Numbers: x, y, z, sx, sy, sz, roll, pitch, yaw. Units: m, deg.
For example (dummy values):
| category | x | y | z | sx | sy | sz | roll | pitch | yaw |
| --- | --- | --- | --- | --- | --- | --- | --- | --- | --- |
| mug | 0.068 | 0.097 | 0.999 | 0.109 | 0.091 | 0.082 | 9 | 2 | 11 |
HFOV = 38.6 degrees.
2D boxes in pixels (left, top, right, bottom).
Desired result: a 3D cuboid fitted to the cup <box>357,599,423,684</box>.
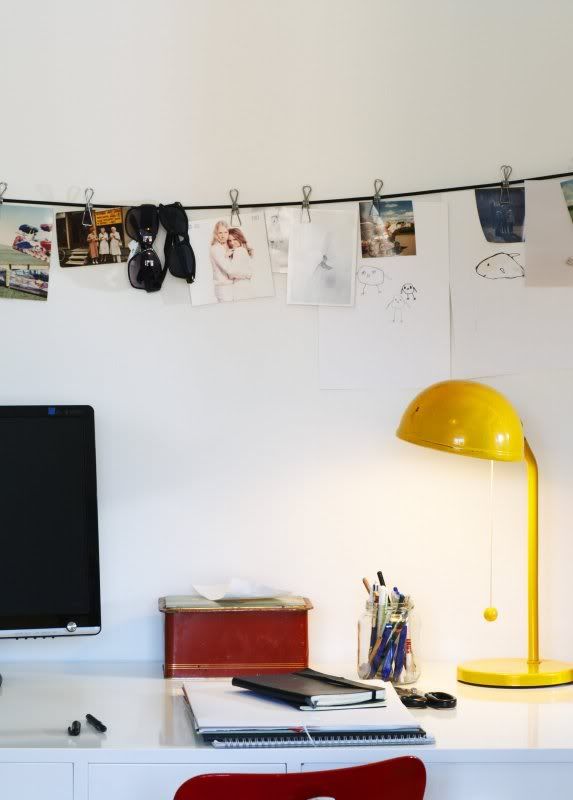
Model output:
| category | x | y | z | sx | sy | sz | roll | pitch | yaw |
| --- | --- | --- | --- | --- | --- | --- | --- | --- | --- |
| cup | 0.169 | 0.414 | 1.379 | 0.114 | 0.168 | 0.118 | 1 | -13 | 0 |

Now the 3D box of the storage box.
| category | x | y | z | sx | sy | sz | roll | pitch | yaw |
| --- | --- | --- | --- | --- | --- | --- | --- | --- | --- |
| storage box | -0.088 | 0.406 | 1.388 | 0.201 | 0.094 | 0.144 | 0 | -6 | -7 |

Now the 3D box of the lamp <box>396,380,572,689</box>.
| category | x | y | z | sx | sy | sz | roll | pitch | yaw |
| --- | --- | --- | --- | --- | --- | --- | --- | --- | --- |
| lamp | 0.354 | 0.227 | 1.473 | 0.304 | 0.525 | 0.280 | 0 | 0 | 7 |

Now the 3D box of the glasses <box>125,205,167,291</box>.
| category | x | y | z | sx | sy | sz | roll | pitch | yaw |
| --- | --- | --- | --- | --- | --- | --- | --- | --- | --- |
| glasses | -0.274 | -0.296 | 1.582 | 0.073 | 0.171 | 0.045 | 0 | 0 | -13 |
